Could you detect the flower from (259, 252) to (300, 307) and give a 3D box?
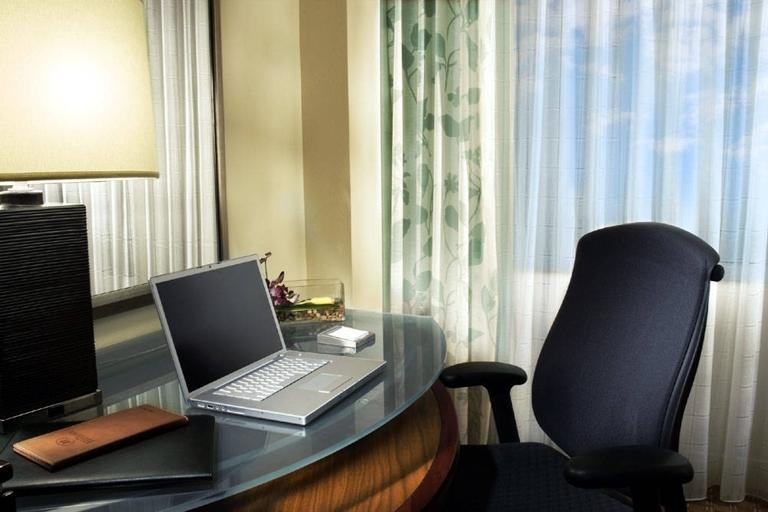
[{"bbox_3d":[-0.445,0.099,2.439,0.177,0.214,0.136,7,23,20],"label":"flower"}]

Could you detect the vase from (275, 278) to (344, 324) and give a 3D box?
[{"bbox_3d":[-0.280,0.185,2.308,0.203,0.121,0.201,-1,-3,6],"label":"vase"}]

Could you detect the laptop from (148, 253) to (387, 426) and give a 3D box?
[{"bbox_3d":[-0.343,0.228,1.823,0.545,0.377,0.509,3,9,22],"label":"laptop"}]
